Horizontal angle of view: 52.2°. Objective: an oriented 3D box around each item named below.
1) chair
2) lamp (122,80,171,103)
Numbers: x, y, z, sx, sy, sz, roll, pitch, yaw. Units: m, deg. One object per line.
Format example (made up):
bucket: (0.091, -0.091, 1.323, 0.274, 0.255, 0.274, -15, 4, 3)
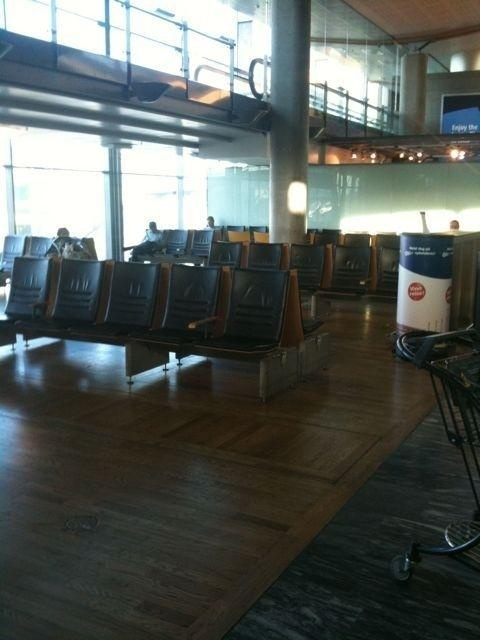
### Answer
chair: (-0.872, -0.054, 4.674, 3.264, 1.097, 1.397, 2, 6, 19)
lamp: (-1.443, -3.428, 7.316, 0.434, 0.161, 0.429, 0, 11, 7)
